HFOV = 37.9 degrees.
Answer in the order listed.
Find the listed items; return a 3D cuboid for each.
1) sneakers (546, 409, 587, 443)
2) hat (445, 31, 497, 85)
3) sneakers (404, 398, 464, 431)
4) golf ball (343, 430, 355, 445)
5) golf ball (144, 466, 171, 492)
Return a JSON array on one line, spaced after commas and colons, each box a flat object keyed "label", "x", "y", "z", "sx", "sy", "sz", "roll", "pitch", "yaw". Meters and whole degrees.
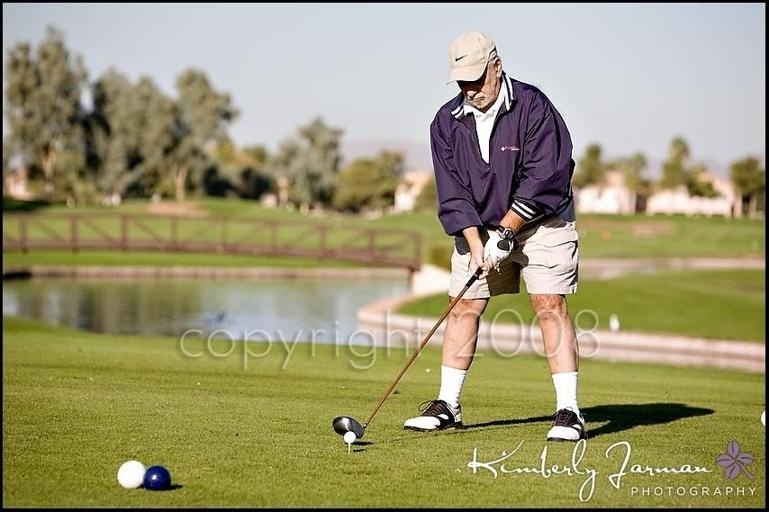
[{"label": "sneakers", "x": 1.688, "y": 1.538, "z": 10.297, "sx": 0.357, "sy": 0.254, "sz": 0.259, "roll": 2, "pitch": 10, "yaw": 6}, {"label": "hat", "x": 0.781, "y": -1.842, "z": 10.339, "sx": 0.333, "sy": 0.312, "sz": 0.532, "roll": -1, "pitch": 38, "yaw": 32}, {"label": "sneakers", "x": 0.468, "y": 1.487, "z": 10.551, "sx": 0.517, "sy": 0.258, "sz": 0.255, "roll": 3, "pitch": -10, "yaw": -24}, {"label": "golf ball", "x": -0.311, "y": 1.622, "z": 10.069, "sx": 0.113, "sy": 0.142, "sz": 0.164, "roll": 1, "pitch": 10, "yaw": 2}, {"label": "golf ball", "x": -1.938, "y": 1.880, "z": 9.476, "sx": 0.195, "sy": 0.240, "sz": 0.191, "roll": 0, "pitch": -3, "yaw": 0}]
